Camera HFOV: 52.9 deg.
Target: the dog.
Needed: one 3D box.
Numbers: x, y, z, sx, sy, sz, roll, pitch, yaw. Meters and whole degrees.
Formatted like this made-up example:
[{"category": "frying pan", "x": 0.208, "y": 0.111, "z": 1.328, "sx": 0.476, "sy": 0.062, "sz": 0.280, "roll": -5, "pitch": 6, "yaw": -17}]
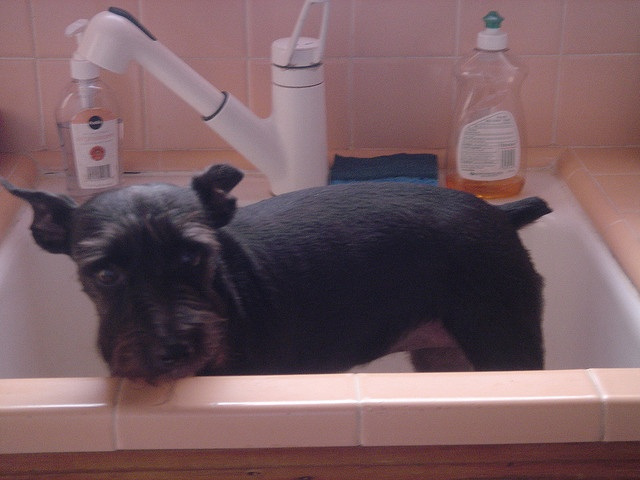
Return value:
[{"category": "dog", "x": -0.035, "y": 0.012, "z": 0.814, "sx": 0.607, "sy": 0.273, "sz": 0.238, "roll": -1, "pitch": 8, "yaw": -13}]
